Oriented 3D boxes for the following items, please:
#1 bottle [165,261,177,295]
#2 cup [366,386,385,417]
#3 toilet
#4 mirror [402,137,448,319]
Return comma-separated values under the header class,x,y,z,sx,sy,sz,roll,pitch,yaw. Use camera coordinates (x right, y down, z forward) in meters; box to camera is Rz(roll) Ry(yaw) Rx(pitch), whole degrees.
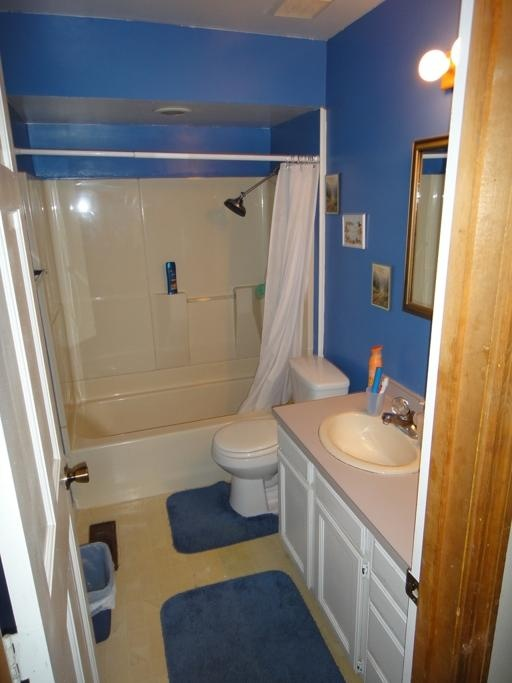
class,x,y,z,sx,sy,sz,roll,pitch,yaw
bottle,-0.582,-0.433,3.466,0.083,0.233,0.053,-7,14,-19
cup,0.459,0.229,1.981,0.067,0.147,0.078,-1,13,-3
toilet,0.106,0.434,2.875,0.764,1.138,0.524,-5,14,-20
mirror,0.624,-0.417,1.888,0.042,0.643,0.215,-4,13,-9
